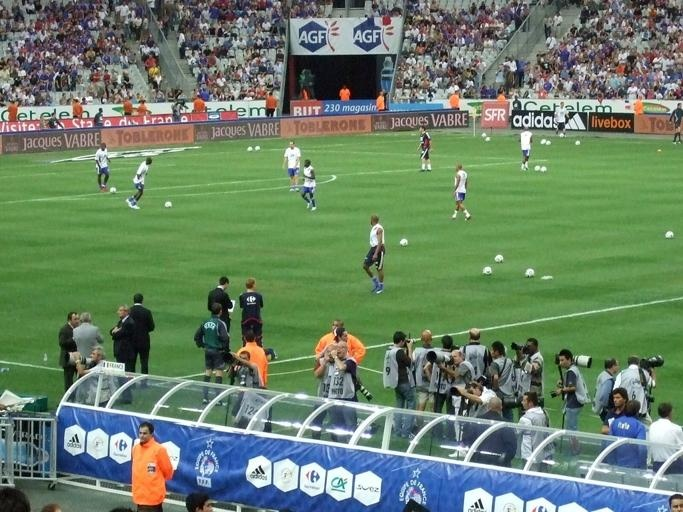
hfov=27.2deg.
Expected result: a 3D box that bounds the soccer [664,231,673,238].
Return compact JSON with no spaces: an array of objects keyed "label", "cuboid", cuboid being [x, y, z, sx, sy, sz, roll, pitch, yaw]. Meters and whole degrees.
[{"label":"soccer","cuboid":[11.879,-0.776,51.271,0.219,0.316,0.284,-10,-18,44]}]

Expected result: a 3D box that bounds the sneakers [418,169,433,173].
[{"label":"sneakers","cuboid":[4.021,-4.048,67.230,0.490,0.216,0.175,2,3,-5]}]

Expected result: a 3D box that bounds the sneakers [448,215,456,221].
[{"label":"sneakers","cuboid":[4.291,-1.469,54.615,0.125,0.262,0.355,-7,13,-43]}]

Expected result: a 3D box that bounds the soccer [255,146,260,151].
[{"label":"soccer","cuboid":[-4.618,-5.891,77.625,0.230,0.210,0.282,1,9,3]}]

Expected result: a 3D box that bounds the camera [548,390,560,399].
[{"label":"camera","cuboid":[5.393,3.488,35.857,0.336,0.351,0.093,-3,38,3]}]

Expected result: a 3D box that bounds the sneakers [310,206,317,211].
[{"label":"sneakers","cuboid":[-1.143,-1.918,57.180,0.206,0.276,0.647,0,0,10]}]

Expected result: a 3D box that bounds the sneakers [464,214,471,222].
[{"label":"sneakers","cuboid":[4.916,-1.509,54.422,0.121,0.294,0.282,-26,12,-32]}]

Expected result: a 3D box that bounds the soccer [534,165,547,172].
[{"label":"soccer","cuboid":[9.535,-4.166,67.286,0.679,0.288,0.260,-1,47,-43]}]

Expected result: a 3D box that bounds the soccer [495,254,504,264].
[{"label":"soccer","cuboid":[5.358,0.093,47.909,0.199,0.247,0.285,-7,-15,29]}]

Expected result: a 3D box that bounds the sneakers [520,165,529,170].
[{"label":"sneakers","cuboid":[8.718,-4.230,67.250,0.252,0.320,0.283,1,12,10]}]

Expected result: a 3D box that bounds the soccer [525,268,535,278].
[{"label":"soccer","cuboid":[6.182,0.527,46.340,0.217,0.320,0.307,-19,-23,11]}]

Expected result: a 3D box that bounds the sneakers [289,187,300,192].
[{"label":"sneakers","cuboid":[-1.974,-2.895,61.597,0.176,0.277,0.558,-3,10,-22]}]
